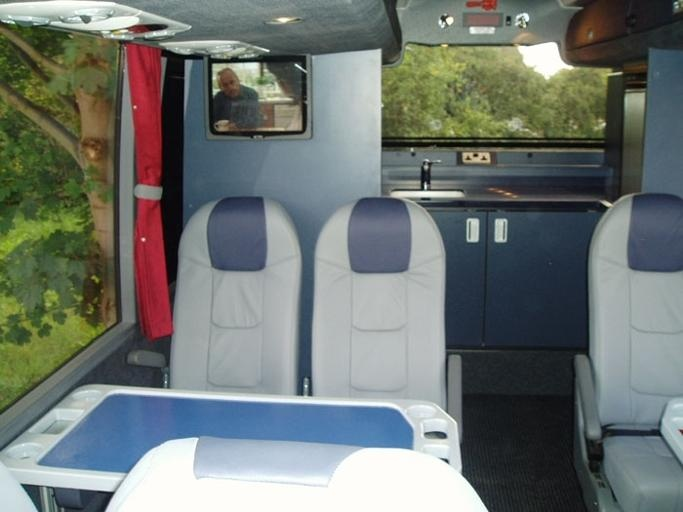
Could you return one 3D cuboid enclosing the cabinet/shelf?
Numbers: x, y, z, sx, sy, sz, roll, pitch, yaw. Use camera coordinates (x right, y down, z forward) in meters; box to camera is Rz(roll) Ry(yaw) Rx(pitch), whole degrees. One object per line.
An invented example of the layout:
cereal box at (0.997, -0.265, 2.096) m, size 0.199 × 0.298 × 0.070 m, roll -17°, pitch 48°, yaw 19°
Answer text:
cabinet/shelf at (1.168, 0.060, 3.750) m, size 0.611 × 0.814 × 1.161 m, roll 1°, pitch 7°, yaw 4°
